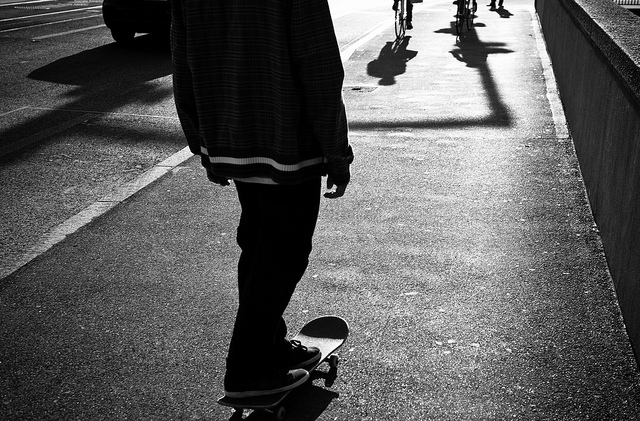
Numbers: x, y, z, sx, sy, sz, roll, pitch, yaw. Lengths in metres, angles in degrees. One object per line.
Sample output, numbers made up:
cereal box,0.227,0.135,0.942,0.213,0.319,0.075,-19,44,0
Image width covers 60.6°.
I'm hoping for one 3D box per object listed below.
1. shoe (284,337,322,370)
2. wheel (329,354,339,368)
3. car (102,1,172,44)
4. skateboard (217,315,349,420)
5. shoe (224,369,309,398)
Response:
shoe,-0.185,0.966,3.700,0.377,0.111,0.113,-6,14,-25
wheel,0.099,1.045,3.812,0.097,0.074,0.101,1,-6,0
car,-4.403,-4.607,13.522,1.931,1.190,0.669,21,43,30
skateboard,-0.150,1.059,3.714,0.384,0.187,1.263,13,21,30
shoe,-0.360,1.102,3.582,0.615,0.175,0.176,-3,8,-17
